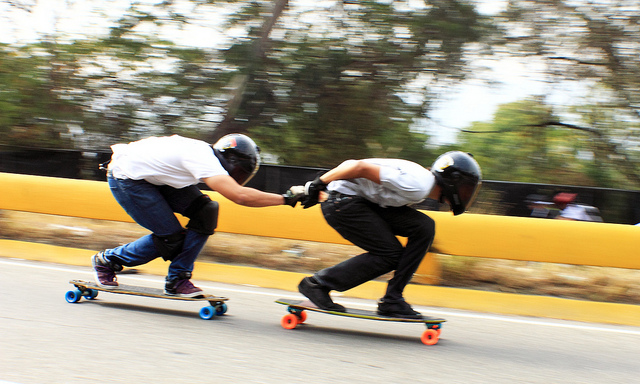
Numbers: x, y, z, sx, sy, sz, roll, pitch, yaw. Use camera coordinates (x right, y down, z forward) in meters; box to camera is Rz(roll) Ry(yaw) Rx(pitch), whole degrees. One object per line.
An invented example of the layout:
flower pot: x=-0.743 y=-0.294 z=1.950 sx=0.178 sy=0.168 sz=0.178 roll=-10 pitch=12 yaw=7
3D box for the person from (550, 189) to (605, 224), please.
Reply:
person: x=4.179 y=0.212 z=9.973 sx=0.898 sy=0.522 sz=0.189 roll=9 pitch=4 yaw=10
